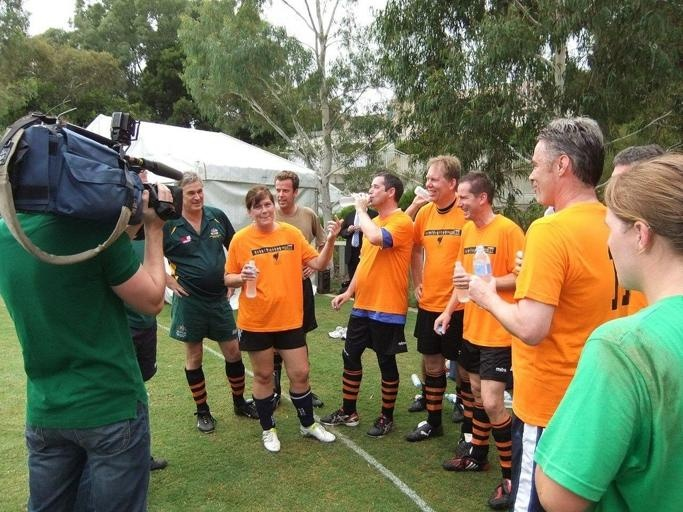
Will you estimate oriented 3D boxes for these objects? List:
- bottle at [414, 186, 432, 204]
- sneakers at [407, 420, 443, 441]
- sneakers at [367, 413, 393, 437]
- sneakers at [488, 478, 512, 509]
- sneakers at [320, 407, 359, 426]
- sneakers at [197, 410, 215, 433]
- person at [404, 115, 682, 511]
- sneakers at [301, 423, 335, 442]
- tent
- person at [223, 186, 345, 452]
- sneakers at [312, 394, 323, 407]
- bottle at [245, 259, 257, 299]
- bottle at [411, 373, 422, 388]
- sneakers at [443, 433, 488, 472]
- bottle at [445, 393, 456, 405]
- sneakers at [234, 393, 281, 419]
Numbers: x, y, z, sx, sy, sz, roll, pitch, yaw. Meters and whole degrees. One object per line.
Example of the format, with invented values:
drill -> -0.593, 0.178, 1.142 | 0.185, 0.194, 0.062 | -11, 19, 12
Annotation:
bottle -> 0.754, -0.568, 5.333 | 0.145, 0.145, 0.256 | 3, 11, -21
sneakers -> 0.755, 1.599, 5.289 | 0.355, 0.156, 0.132 | -1, -4, -23
sneakers -> 0.354, 1.563, 5.276 | 0.115, 0.141, 0.304 | -4, -9, 31
sneakers -> 1.216, 1.752, 4.312 | 0.144, 0.132, 0.302 | -8, -5, 42
sneakers -> -0.010, 1.553, 5.587 | 0.383, 0.193, 0.154 | 3, -9, 1
sneakers -> -1.274, 1.545, 5.403 | 0.170, 0.136, 0.220 | -2, 9, -14
person -> 1.152, 0.360, 3.229 | 0.707, 2.257, 0.547 | -6, 11, -36
sneakers -> -0.213, 1.582, 5.227 | 0.272, 0.137, 0.145 | 2, 2, 20
tent -> -2.270, -1.230, 11.765 | 3.928, 2.994, 4.064 | 2, 3, -39
person -> -0.545, 0.528, 5.062 | 0.920, 2.257, 0.574 | -2, 9, -14
sneakers -> -0.259, 1.509, 5.976 | 0.126, 0.048, 0.099 | 27, 5, -2
bottle -> -0.761, 0.198, 4.820 | 0.096, 0.335, 0.241 | -1, 9, -10
bottle -> 0.843, 1.416, 6.522 | 0.150, 0.099, 0.288 | -2, 7, -1
sneakers -> 0.940, 1.643, 4.743 | 0.504, 0.229, 0.195 | -2, -11, -8
bottle -> 1.156, 1.520, 6.141 | 0.102, 0.042, 0.113 | 2, 1, 5
sneakers -> -0.828, 1.490, 5.776 | 0.638, 0.286, 0.223 | -10, -8, 33
